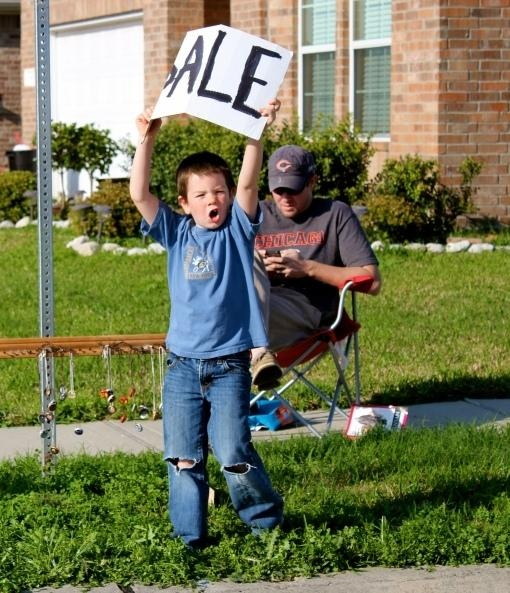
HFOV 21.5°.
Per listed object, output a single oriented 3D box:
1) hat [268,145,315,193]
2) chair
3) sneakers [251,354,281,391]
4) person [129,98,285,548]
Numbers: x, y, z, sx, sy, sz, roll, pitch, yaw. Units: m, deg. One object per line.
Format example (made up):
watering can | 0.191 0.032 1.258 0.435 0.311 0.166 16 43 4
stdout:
hat | 0.209 -0.772 7.953 0.169 0.205 0.320 -1 13 9
chair | 0.371 0.405 8.167 0.832 1.235 0.605 6 -8 -34
sneakers | 0.057 0.424 7.513 0.083 0.123 0.279 -3 -32 -10
person | -0.226 0.121 6.324 0.590 2.386 0.407 -2 23 -6
